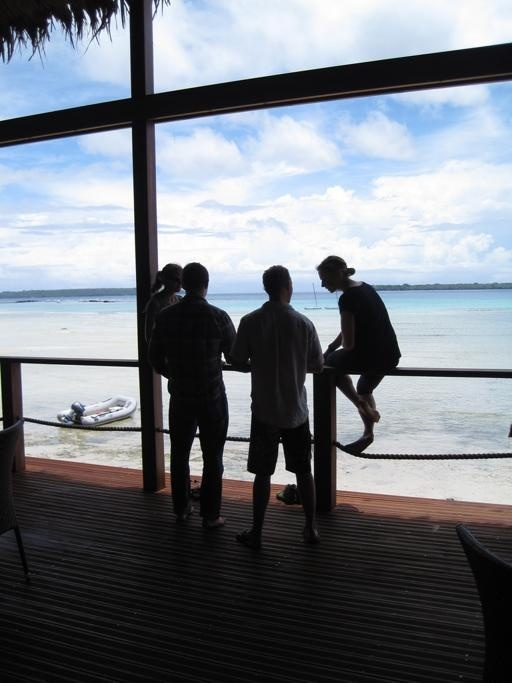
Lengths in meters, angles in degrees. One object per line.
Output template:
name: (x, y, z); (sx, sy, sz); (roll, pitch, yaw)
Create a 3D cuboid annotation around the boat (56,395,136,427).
boat: (-4.436, 1.899, 16.107); (1.354, 0.841, 2.796); (0, 5, 10)

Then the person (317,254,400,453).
person: (0.585, 0.103, 3.365); (0.449, 1.206, 0.557); (0, 4, 14)

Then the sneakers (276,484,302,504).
sneakers: (0.191, 0.888, 3.425); (0.073, 0.099, 0.212); (3, -5, -16)

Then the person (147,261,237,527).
person: (-0.322, 0.289, 2.989); (0.410, 1.361, 0.238); (2, 4, 34)

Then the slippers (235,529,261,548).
slippers: (-0.036, 0.943, 2.818); (0.051, 0.062, 0.129); (3, 2, -37)

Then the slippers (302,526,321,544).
slippers: (0.265, 0.932, 2.827); (0.067, 0.138, 0.070); (-3, -15, 5)

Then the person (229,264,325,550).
person: (0.105, 0.310, 2.793); (0.419, 1.342, 0.265); (0, 4, 8)
